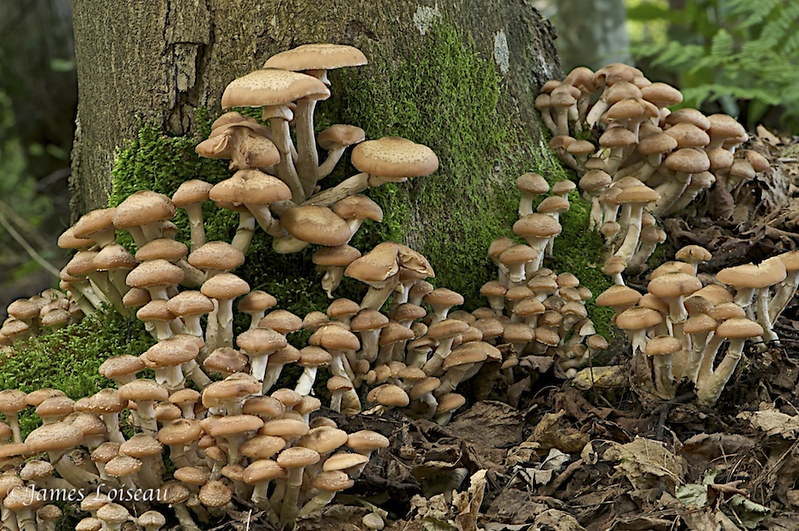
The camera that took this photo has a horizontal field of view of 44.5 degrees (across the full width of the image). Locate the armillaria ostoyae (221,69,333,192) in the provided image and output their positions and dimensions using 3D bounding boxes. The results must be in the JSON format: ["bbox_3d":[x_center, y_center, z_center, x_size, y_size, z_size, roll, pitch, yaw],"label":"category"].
[{"bbox_3d":[-1.431,-1.742,11.091,0.801,0.910,0.996,5,15,44],"label":"armillaria ostoyae"}]

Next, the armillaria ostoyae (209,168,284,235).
[{"bbox_3d":[-1.760,-0.680,11.393,1.082,0.638,0.887,-6,10,-20],"label":"armillaria ostoyae"}]
